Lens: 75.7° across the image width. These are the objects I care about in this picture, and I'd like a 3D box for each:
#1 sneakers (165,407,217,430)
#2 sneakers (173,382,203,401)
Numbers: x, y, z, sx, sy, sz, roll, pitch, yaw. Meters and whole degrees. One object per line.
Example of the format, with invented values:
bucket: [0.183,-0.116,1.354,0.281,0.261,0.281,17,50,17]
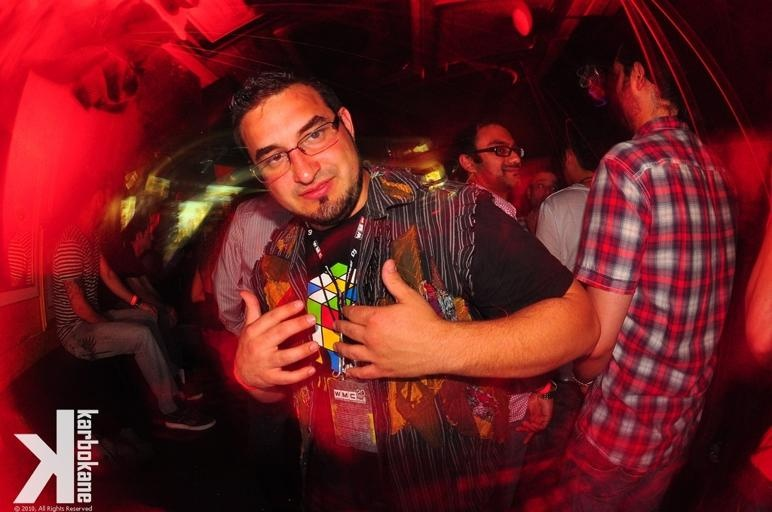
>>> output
sneakers: [-2.116,1.780,5.520,0.530,0.235,0.215,2,-1,-11]
sneakers: [-2.375,1.612,5.904,0.428,0.143,0.168,1,-11,6]
